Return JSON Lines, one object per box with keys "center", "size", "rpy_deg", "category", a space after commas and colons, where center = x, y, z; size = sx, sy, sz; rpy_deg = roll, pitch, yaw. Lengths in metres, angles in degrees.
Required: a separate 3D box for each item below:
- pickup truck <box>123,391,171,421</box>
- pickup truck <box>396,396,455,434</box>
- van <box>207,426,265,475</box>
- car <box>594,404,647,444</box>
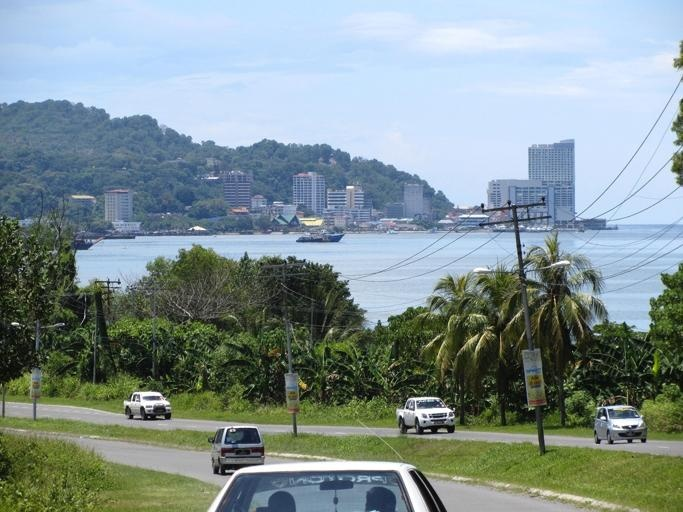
{"center": [-14.910, 11.509, 90.230], "size": [4.132, 2.069, 1.659], "rpy_deg": [-6, -6, 38], "category": "pickup truck"}
{"center": [5.588, 10.519, 77.208], "size": [2.853, 2.587, 3.175], "rpy_deg": [0, -7, -17], "category": "pickup truck"}
{"center": [-5.984, 10.998, 66.818], "size": [2.639, 2.758, 5.158], "rpy_deg": [1, -5, -12], "category": "van"}
{"center": [16.397, 9.901, 68.970], "size": [2.798, 2.118, 1.839], "rpy_deg": [-3, -4, 13], "category": "car"}
